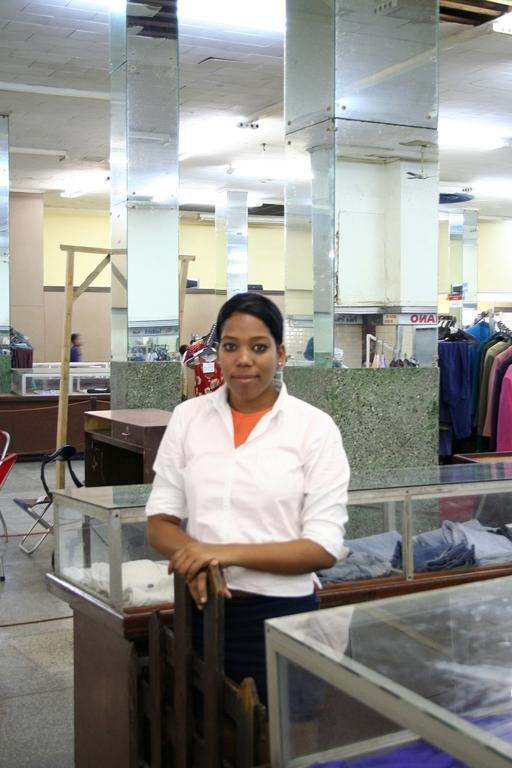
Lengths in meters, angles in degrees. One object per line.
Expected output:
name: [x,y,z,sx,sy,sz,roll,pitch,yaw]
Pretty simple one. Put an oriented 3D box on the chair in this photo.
chair: [-1.950,1.049,5.945,0.630,0.739,0.617,-9,2,14]
